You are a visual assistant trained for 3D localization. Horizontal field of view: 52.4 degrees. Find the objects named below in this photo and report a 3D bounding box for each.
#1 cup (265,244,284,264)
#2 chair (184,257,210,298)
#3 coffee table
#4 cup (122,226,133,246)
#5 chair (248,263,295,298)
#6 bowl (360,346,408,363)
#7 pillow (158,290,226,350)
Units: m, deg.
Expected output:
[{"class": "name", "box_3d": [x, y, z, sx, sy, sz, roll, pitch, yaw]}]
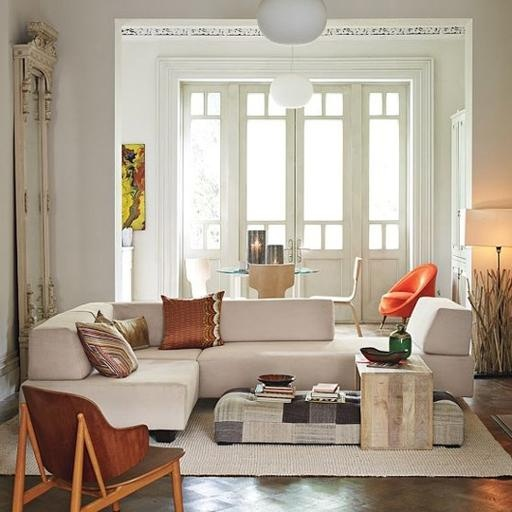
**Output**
[{"class": "cup", "box_3d": [0.183, -0.019, 5.226, 0.173, 0.198, 0.176, 1, 4, 0]}, {"class": "chair", "box_3d": [-0.810, 0.280, 6.939, 0.370, 0.592, 0.404, -6, 22, -16]}, {"class": "coffee table", "box_3d": [0.796, 0.850, 3.110, 0.355, 0.400, 0.810, 0, 4, 3]}, {"class": "cup", "box_3d": [-1.689, -0.244, 6.784, 0.128, 0.241, 0.240, 0, 4, -14]}, {"class": "chair", "box_3d": [0.149, 0.192, 5.056, 0.368, 0.423, 0.350, 1, 5, -1]}, {"class": "bowl", "box_3d": [0.775, 0.598, 3.141, 0.183, 0.057, 0.118, -2, -1, 8]}, {"class": "pillow", "box_3d": [-0.492, 0.500, 3.961, 0.396, 0.358, 0.147, 0, -32, -3]}]
